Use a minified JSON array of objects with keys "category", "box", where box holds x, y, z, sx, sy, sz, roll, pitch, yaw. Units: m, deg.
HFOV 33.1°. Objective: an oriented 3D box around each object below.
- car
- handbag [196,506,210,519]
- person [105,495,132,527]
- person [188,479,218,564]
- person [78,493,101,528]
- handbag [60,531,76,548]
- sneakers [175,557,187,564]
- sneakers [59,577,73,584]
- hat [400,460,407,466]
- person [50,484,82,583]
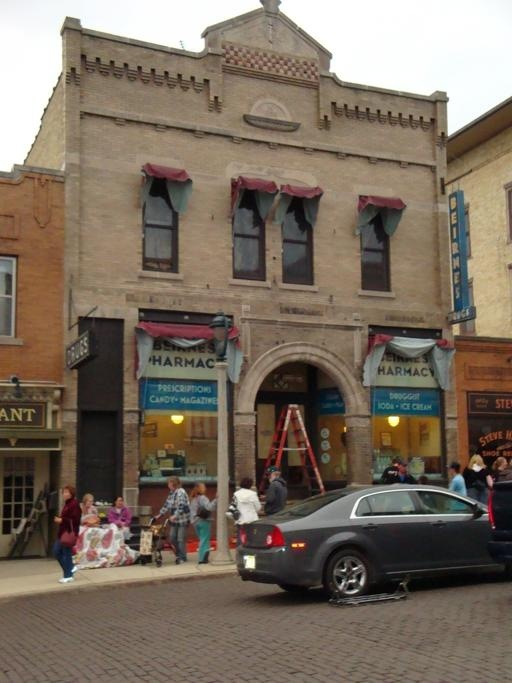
[{"category":"car","box":[1.467,2.530,11.195,3.028,1.307,1.027,3,-10,-26]},{"category":"handbag","box":[-0.956,3.057,15.345,0.237,0.206,0.151,1,-10,-18]},{"category":"person","box":[-2.580,3.173,16.150,0.560,0.694,0.560,3,-9,-22]},{"category":"person","box":[-0.969,3.225,15.423,0.460,1.370,0.936,-1,-9,-3]},{"category":"person","box":[-3.060,3.079,15.791,0.307,0.568,0.785,0,-9,-10]},{"category":"handbag","box":[-2.801,2.897,12.761,0.279,0.139,0.187,11,24,3]},{"category":"sneakers","box":[-1.365,3.878,15.323,0.072,0.130,0.204,3,-11,-21]},{"category":"sneakers","box":[-2.967,3.680,13.354,0.178,0.067,0.096,7,-7,-8]},{"category":"hat","box":[2.897,2.414,17.172,0.076,0.122,0.553,-10,-9,15]},{"category":"person","box":[-2.876,2.929,13.084,0.363,1.451,0.821,0,-10,-13]}]
